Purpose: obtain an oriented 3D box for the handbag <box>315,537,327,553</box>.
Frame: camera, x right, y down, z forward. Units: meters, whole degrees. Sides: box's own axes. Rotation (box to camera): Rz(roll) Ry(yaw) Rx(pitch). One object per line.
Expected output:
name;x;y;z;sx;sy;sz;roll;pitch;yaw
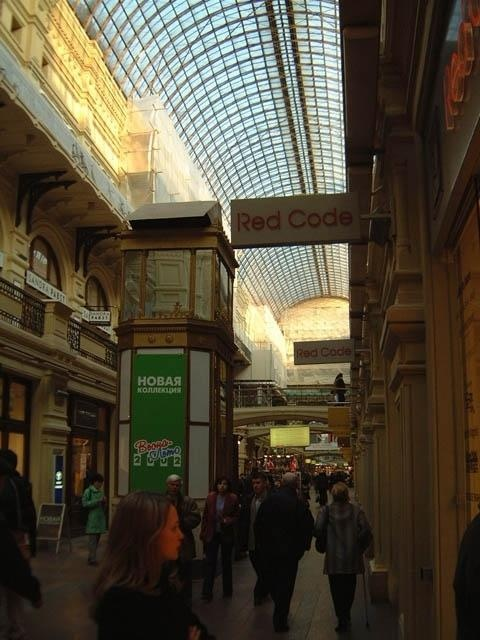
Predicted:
handbag;1.030;2.881;6.794;0.128;0.170;0.312;-2;-17;8
